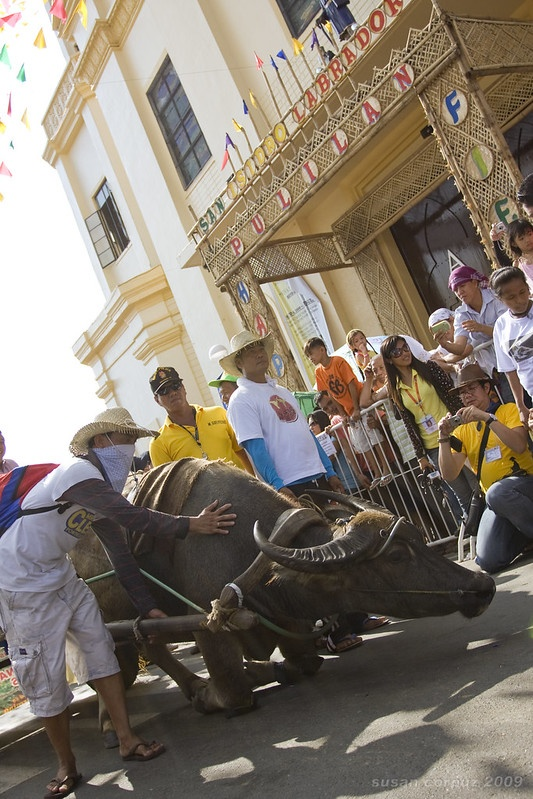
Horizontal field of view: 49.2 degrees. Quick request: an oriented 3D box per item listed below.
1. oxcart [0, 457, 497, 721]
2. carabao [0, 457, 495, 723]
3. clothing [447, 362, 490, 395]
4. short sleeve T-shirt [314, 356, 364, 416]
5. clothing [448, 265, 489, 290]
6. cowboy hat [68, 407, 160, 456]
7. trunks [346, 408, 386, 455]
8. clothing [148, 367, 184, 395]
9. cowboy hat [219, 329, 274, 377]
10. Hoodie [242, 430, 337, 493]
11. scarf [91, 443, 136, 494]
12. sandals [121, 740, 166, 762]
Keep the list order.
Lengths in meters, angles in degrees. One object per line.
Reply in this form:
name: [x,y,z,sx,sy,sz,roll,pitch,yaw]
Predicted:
oxcart: [-0.137,1.081,3.102,2.492,1.245,1.020,-6,-5,30]
carabao: [-0.112,1.020,3.128,2.393,1.233,1.099,-5,-6,34]
clothing: [1.654,-0.173,4.690,0.228,0.105,0.267,-27,-22,20]
short sleeve T-shirt: [0.918,-0.159,7.468,0.556,0.736,0.227,-35,-24,29]
clothing: [2.069,-1.253,6.008,0.354,0.201,0.260,11,-23,-23]
cowboy hat: [-1.070,0.188,4.056,0.502,0.223,0.607,0,16,12]
trunks: [1.164,0.370,6.743,0.294,0.534,0.427,-23,3,-34]
clothing: [-0.842,-0.162,4.716,0.245,0.251,0.227,-29,-1,-9]
cowboy hat: [-0.188,-0.401,4.748,0.414,0.193,0.467,-20,-16,-15]
Hoodie: [0.017,0.469,4.283,0.498,0.465,0.170,-22,2,-11]
scarf: [-0.909,0.425,3.597,0.323,0.254,0.266,-1,-8,0]
sandals: [-0.582,1.707,2.824,0.183,0.057,0.104,-15,-14,34]
